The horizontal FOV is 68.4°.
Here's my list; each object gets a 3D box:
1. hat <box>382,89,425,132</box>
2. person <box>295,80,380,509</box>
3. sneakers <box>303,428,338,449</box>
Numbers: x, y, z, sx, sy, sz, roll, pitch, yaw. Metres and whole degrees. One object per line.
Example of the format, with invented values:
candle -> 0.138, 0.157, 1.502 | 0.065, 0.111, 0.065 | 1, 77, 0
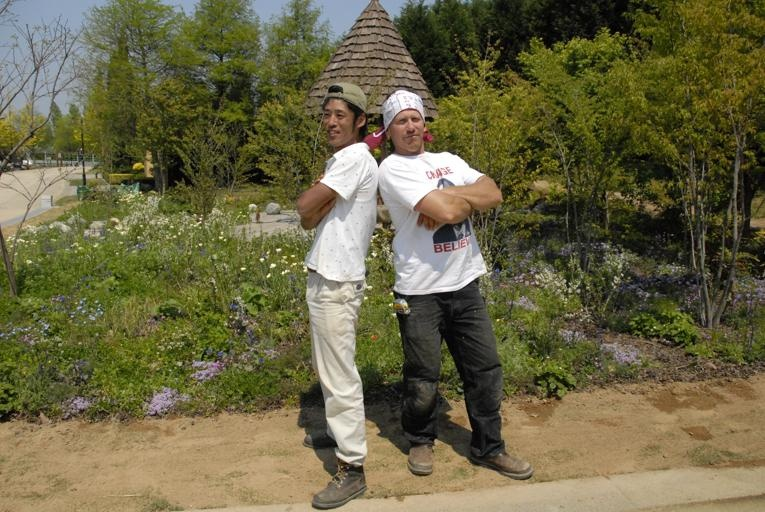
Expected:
hat -> 0.215, -1.567, 5.938 | 0.358, 0.327, 0.405 | 0, 26, 9
person -> -0.442, 0.356, 5.672 | 0.797, 4.176, 0.726 | -1, 6, -16
sneakers -> -0.698, 2.038, 6.280 | 0.373, 0.179, 0.182 | 9, 8, -1
